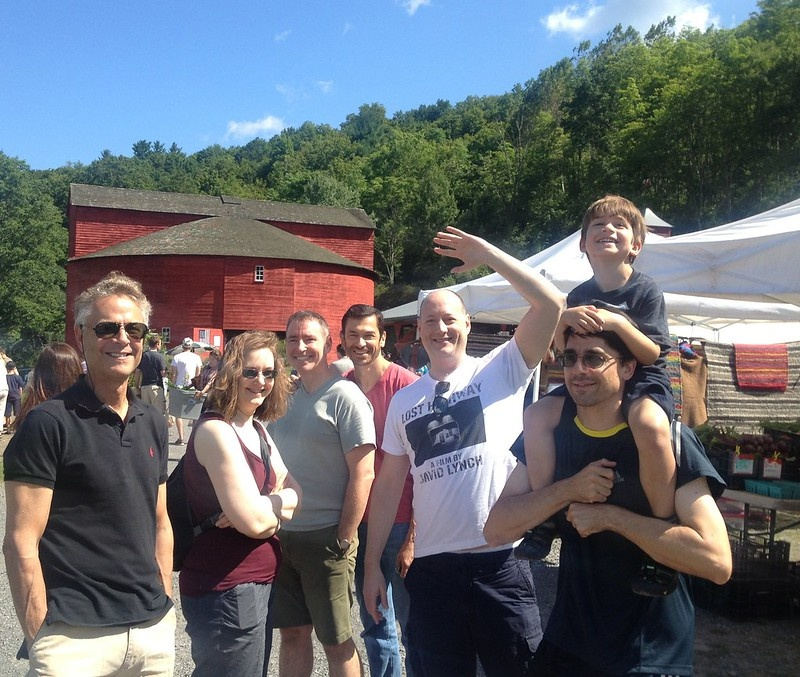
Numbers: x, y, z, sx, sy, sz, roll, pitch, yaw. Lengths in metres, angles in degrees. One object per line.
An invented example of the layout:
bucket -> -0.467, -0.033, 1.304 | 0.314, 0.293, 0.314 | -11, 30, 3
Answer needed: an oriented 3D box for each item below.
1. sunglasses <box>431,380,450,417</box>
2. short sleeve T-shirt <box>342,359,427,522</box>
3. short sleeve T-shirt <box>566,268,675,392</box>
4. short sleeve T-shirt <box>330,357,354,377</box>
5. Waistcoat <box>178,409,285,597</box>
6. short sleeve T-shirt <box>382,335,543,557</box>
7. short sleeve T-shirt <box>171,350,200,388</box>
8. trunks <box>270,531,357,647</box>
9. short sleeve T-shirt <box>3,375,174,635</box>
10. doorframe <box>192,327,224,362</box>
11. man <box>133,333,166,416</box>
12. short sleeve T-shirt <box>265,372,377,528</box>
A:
sunglasses -> 0.205, 0.306, 4.094 | 0.088, 0.160, 0.040 | -7, -16, 35
short sleeve T-shirt -> -0.191, 0.509, 5.475 | 0.268, 0.659, 0.836 | -17, -39, -3
short sleeve T-shirt -> 1.297, -0.085, 4.554 | 0.571, 0.675, 0.365 | 12, 22, 44
short sleeve T-shirt -> -0.449, 0.204, 6.192 | 0.150, 0.155, 0.168 | -1, 1, 0
Waistcoat -> -0.837, 0.929, 4.130 | 0.387, 0.743, 0.516 | 4, -7, 22
short sleeve T-shirt -> 0.321, 0.588, 4.025 | 0.869, 1.184, 0.336 | -22, -44, 33
short sleeve T-shirt -> -4.039, 0.583, 14.776 | 0.471, 0.617, 0.340 | 11, -36, -15
trunks -> -0.499, 1.402, 4.446 | 0.575, 0.773, 0.420 | -7, -18, 27
short sleeve T-shirt -> -1.392, 0.747, 3.575 | 0.699, 1.123, 0.292 | -5, 0, -29
doorframe -> -5.683, 0.120, 23.129 | 0.844, 0.921, 0.643 | 0, -4, -15
man -> -4.180, 0.686, 13.079 | 0.489, 1.607, 0.469 | 1, 23, -18
short sleeve T-shirt -> -0.469, 0.665, 4.527 | 0.763, 0.896, 0.343 | 5, -7, 32
